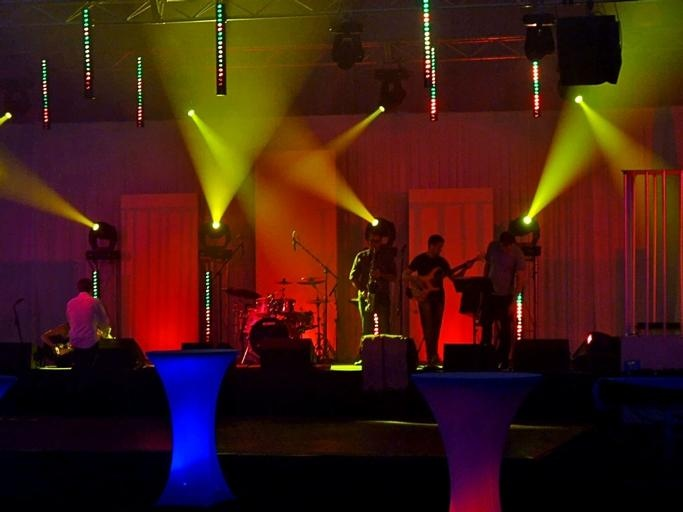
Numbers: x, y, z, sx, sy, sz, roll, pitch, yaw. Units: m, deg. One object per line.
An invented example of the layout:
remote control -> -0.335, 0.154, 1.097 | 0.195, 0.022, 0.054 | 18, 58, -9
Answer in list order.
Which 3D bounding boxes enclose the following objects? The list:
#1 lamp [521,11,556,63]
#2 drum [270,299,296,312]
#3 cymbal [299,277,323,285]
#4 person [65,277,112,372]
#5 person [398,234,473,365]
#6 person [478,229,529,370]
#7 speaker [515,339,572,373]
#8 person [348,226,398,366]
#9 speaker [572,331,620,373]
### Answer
lamp -> 2.414, -2.681, 11.453 | 0.330, 0.622, 0.273 | 1, 2, 35
drum -> -0.799, 0.668, 12.743 | 0.234, 0.091, 0.189 | -7, -15, 22
cymbal -> -0.444, 0.351, 13.342 | 0.341, 0.092, 0.904 | 2, -1, -3
person -> -3.037, 0.791, 11.266 | 0.487, 0.899, 0.637 | 2, -1, -21
person -> 1.092, 0.517, 11.614 | 0.678, 1.568, 0.494 | 1, -1, 24
person -> 1.936, 0.516, 11.310 | 0.540, 1.682, 0.448 | 0, 3, 10
speaker -> 2.190, 1.074, 10.279 | 0.607, 0.347, 0.313 | 1, -1, 12
person -> 0.438, 0.485, 11.962 | 0.396, 1.702, 0.464 | -1, 4, -10
speaker -> 2.880, 1.063, 10.563 | 0.446, 0.450, 0.607 | -1, -4, 6
